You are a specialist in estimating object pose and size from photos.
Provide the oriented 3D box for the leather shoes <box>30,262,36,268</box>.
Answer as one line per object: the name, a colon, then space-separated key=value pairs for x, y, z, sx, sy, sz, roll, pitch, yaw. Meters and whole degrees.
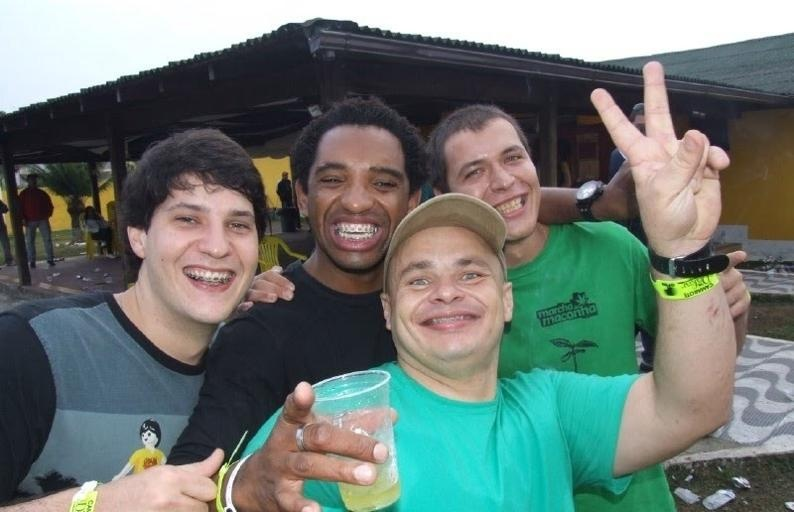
leather shoes: x=-9.701 y=0.216 z=15.771 sx=0.120 sy=0.133 sz=0.117 roll=5 pitch=-22 yaw=-29

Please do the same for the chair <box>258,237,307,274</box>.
chair: x=-1.865 y=-0.058 z=9.197 sx=1.041 sy=0.371 sz=0.754 roll=-1 pitch=0 yaw=-19

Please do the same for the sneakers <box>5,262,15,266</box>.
sneakers: x=-10.650 y=0.187 z=16.317 sx=0.177 sy=0.074 sz=0.070 roll=-6 pitch=13 yaw=3
